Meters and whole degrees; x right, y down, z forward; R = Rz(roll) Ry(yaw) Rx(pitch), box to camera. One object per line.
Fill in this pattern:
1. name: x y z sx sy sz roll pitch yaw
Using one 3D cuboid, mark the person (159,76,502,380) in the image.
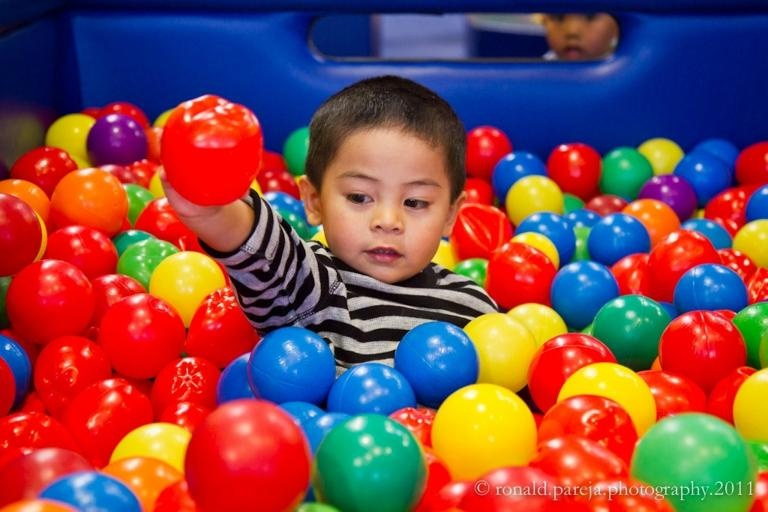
1. person: -0.120 -0.044 1.746 0.886 0.308 1.084 6 59 -11
